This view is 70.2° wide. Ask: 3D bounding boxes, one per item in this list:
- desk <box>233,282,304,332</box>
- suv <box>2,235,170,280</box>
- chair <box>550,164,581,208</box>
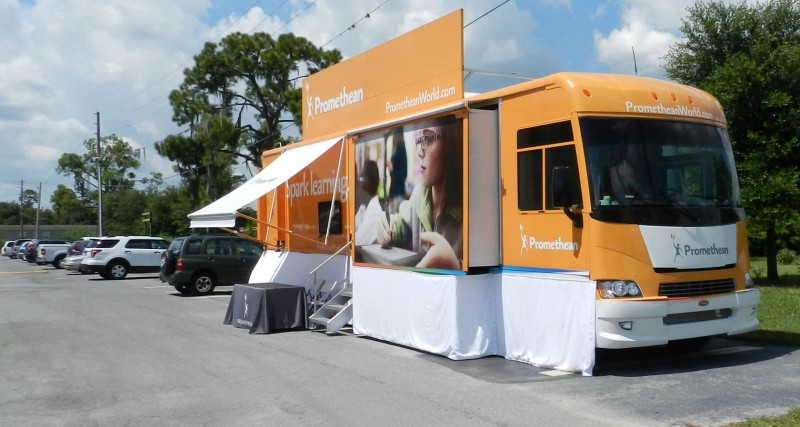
[{"bbox_3d":[-3.748,2.639,16.008,1.557,0.822,1.392,2,-1,-42],"label":"desk"},{"bbox_3d":[-14.345,2.385,29.691,3.953,2.242,1.149,-2,10,-5],"label":"suv"},{"bbox_3d":[3.541,-0.557,12.207,0.620,0.885,0.377,-5,10,-24],"label":"chair"}]
